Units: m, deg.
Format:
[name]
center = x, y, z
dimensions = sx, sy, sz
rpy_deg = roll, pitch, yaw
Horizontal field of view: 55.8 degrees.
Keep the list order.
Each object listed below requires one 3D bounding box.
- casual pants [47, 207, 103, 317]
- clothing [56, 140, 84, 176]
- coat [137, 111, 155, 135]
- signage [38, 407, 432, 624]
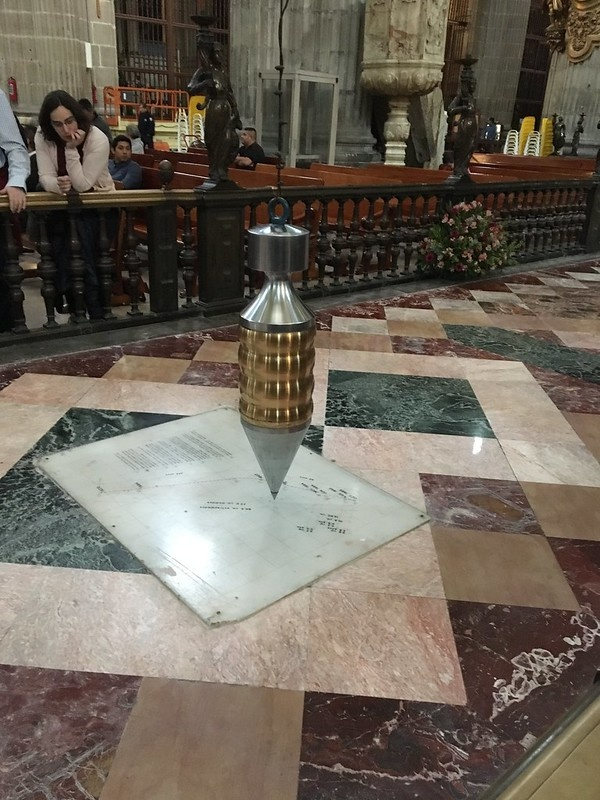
[casual pants]
center = -1.500, -0.926, 3.784
dimensions = 0.153, 0.736, 0.378
rpy_deg = -5, 16, -27
[clothing]
center = -1.395, -1.501, 3.537
dimensions = 0.176, 0.198, 0.217
rpy_deg = -5, 19, -14
[coat]
center = -3.606, -6.494, 13.328
dimensions = 0.360, 0.527, 0.500
rpy_deg = -8, 27, -14
[signage]
center = -0.274, 0.341, 2.142
dimensions = 0.920, 0.085, 1.178
rpy_deg = -21, 32, -38
